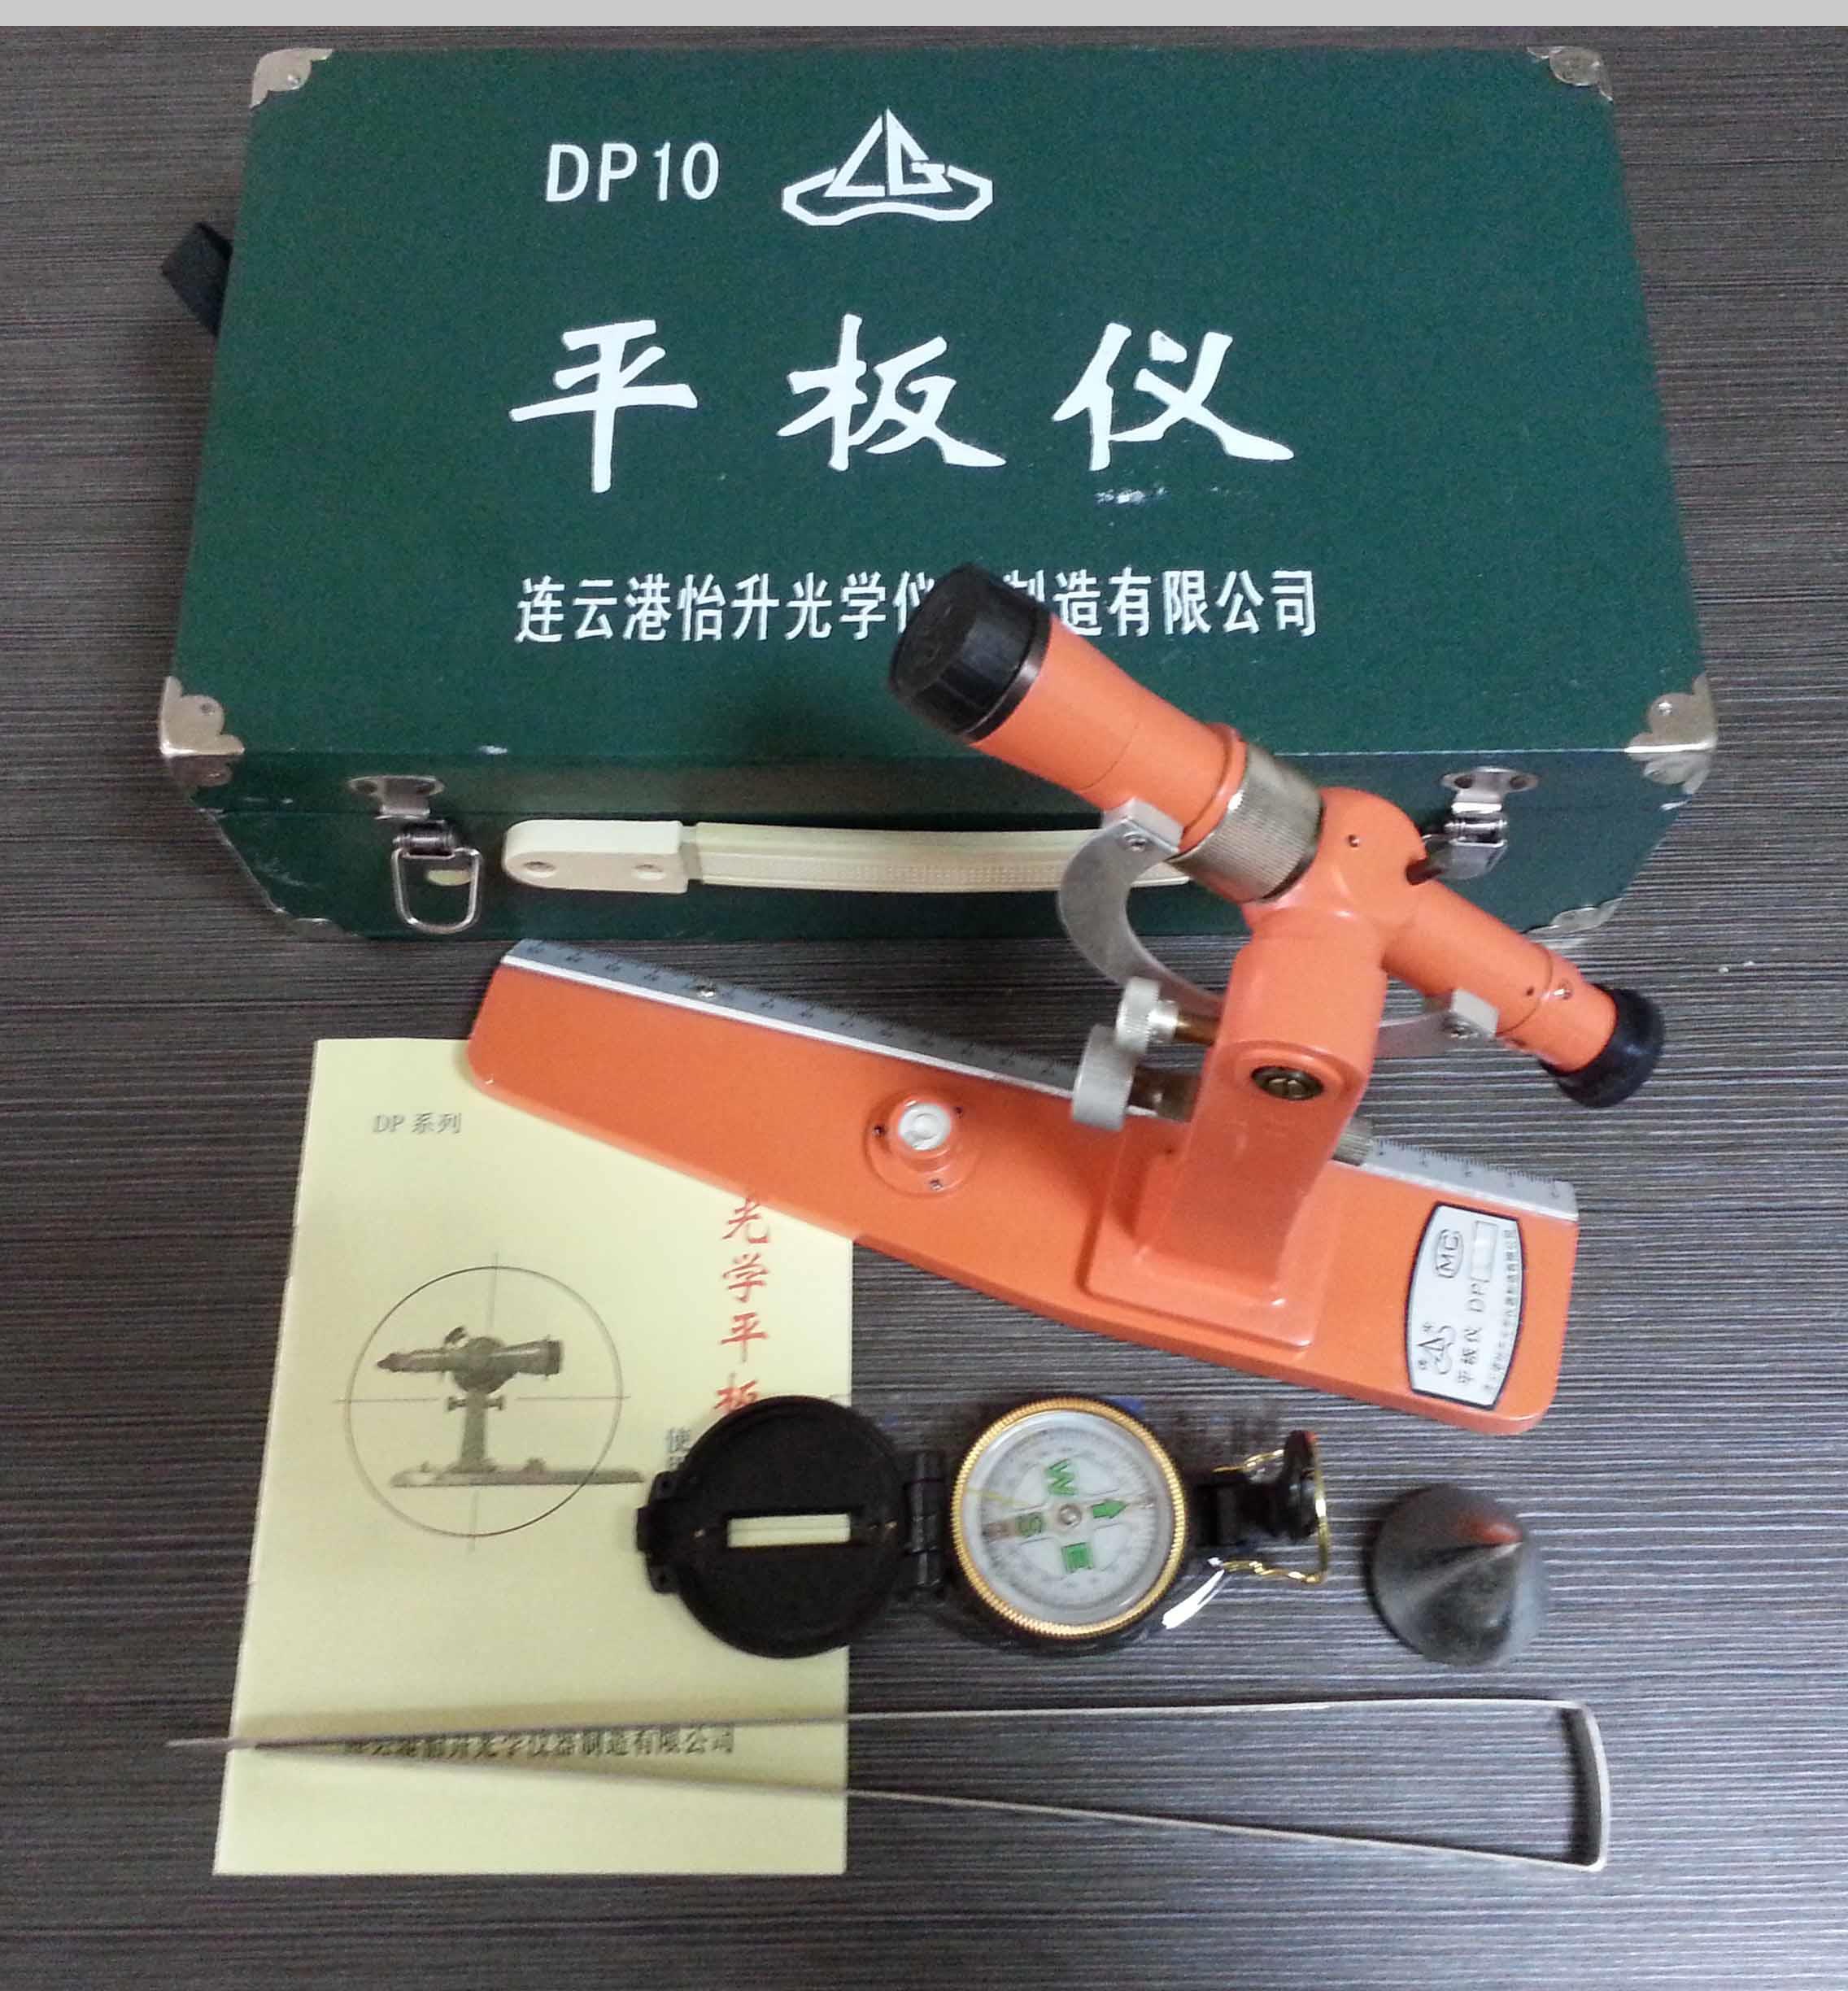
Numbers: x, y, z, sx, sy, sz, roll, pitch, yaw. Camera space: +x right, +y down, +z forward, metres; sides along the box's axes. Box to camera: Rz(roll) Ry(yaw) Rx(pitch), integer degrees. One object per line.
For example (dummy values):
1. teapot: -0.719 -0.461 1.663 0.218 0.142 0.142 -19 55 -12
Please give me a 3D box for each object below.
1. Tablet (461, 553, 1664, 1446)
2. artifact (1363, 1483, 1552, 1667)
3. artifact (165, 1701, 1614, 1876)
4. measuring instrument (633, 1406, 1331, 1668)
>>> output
1. Tablet: 0.225 0.041 1.220 0.477 0.764 0.201 -26 51 46
2. artifact: 0.276 0.310 1.271 0.048 0.114 0.099 -42 31 24
3. artifact: -0.039 0.417 1.231 0.898 0.099 0.032 2 32 -2
4. measuring instrument: 0.047 0.287 1.278 0.122 0.459 0.126 -15 72 45
